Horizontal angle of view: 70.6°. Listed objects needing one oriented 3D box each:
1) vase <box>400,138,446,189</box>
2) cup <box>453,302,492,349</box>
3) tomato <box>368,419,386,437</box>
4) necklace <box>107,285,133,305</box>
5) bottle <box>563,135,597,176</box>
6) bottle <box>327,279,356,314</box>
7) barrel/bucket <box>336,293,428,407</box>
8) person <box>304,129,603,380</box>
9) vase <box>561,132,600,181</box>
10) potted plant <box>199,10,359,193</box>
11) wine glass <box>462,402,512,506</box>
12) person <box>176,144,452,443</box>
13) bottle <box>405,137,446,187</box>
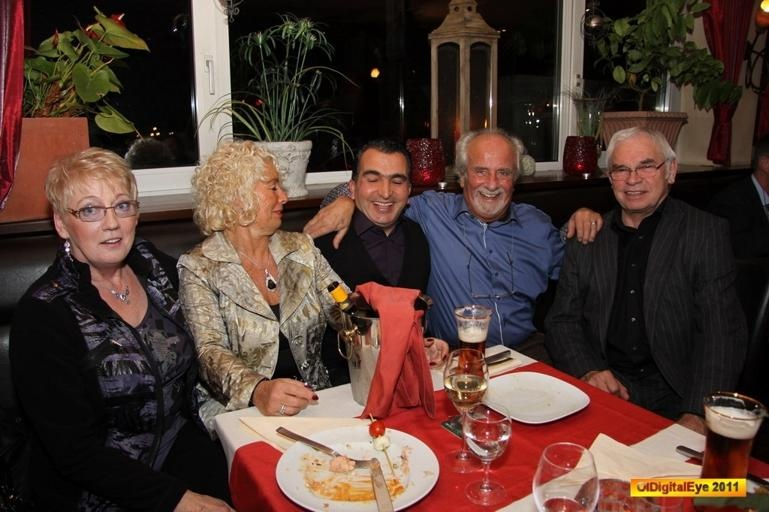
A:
[{"bbox_3d":[0.259,-0.625,3.558,0.329,0.313,0.322,-20,29,-40],"label":"vase"},{"bbox_3d":[0.315,0.292,1.950,0.126,0.182,0.125,-1,7,0],"label":"cup"},{"bbox_3d":[-0.026,0.555,1.750,0.044,0.057,0.049,1,2,2],"label":"tomato"},{"bbox_3d":[-1.067,0.155,2.189,0.068,0.020,0.052,37,22,20],"label":"necklace"},{"bbox_3d":[1.479,-0.751,4.114,0.276,0.302,0.273,-7,9,-39],"label":"bottle"},{"bbox_3d":[-0.151,0.135,1.900,0.075,0.119,0.131,-3,13,-1],"label":"bottle"},{"bbox_3d":[-0.040,0.307,2.033,0.361,0.473,0.366,1,9,0],"label":"barrel/bucket"},{"bbox_3d":[0.530,-0.048,2.976,1.595,1.215,0.442,5,20,9],"label":"person"},{"bbox_3d":[1.478,-0.750,4.108,0.304,0.344,0.318,0,6,3],"label":"vase"},{"bbox_3d":[-0.568,-0.792,3.237,0.793,0.866,0.704,8,16,32],"label":"potted plant"},{"bbox_3d":[0.314,0.570,1.679,0.133,0.227,0.319,0,14,12],"label":"wine glass"},{"bbox_3d":[-0.423,0.135,2.354,1.058,1.268,0.780,2,4,32],"label":"person"},{"bbox_3d":[0.320,-0.612,3.541,0.279,0.295,0.288,4,20,15],"label":"bottle"}]
